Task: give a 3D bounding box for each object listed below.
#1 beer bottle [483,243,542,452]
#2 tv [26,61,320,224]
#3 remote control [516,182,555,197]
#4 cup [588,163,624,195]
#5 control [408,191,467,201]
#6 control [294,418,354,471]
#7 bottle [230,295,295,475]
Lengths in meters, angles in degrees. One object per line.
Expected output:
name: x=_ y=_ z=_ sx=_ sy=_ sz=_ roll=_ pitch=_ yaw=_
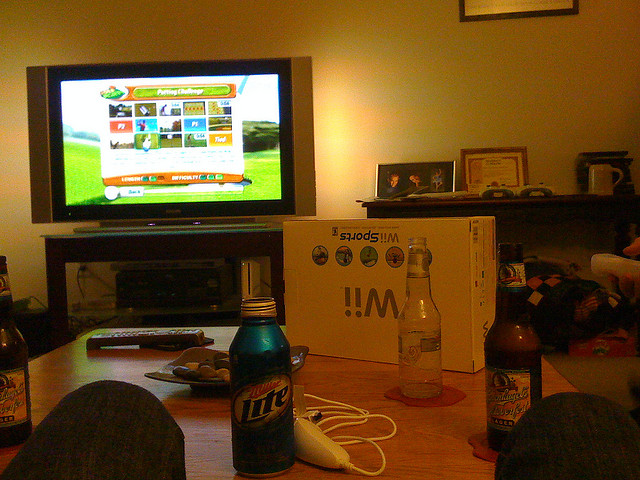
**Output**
beer bottle: x=0.278 y=0.146 z=0.836 sx=0.103 sy=0.305 sz=0.089 roll=-2 pitch=-3 yaw=22
tv: x=-0.814 y=-0.537 z=3.083 sx=1.616 sy=0.927 sz=0.188 roll=-6 pitch=12 yaw=1
remote control: x=1.148 y=-0.268 z=2.992 sx=0.185 sy=0.052 sz=0.253 roll=0 pitch=12 yaw=24
cup: x=1.516 y=-0.323 z=2.978 sx=0.174 sy=0.153 sz=0.259 roll=0 pitch=13 yaw=26
control: x=0.633 y=-0.234 z=2.994 sx=0.313 sy=0.042 sz=0.155 roll=-5 pitch=11 yaw=5
control: x=-0.001 y=0.275 z=0.779 sx=0.077 sy=0.049 sz=0.105 roll=0 pitch=2 yaw=-10
bottle: x=-0.083 y=0.195 z=0.755 sx=0.098 sy=0.228 sz=0.070 roll=-8 pitch=12 yaw=-6
